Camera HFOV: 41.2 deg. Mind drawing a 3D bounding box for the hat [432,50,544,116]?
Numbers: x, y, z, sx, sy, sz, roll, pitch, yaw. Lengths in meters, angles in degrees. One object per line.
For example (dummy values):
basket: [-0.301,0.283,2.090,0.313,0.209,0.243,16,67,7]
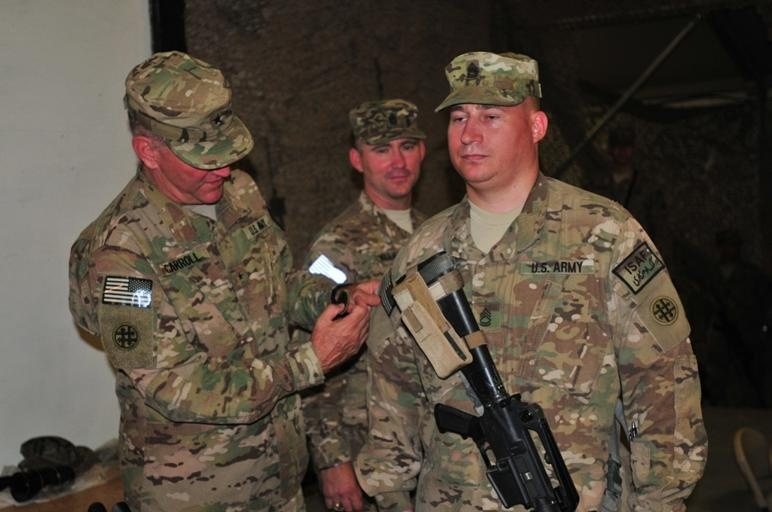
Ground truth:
hat: [0.576,-0.969,5.654,0.364,0.181,0.470,-2,9,41]
